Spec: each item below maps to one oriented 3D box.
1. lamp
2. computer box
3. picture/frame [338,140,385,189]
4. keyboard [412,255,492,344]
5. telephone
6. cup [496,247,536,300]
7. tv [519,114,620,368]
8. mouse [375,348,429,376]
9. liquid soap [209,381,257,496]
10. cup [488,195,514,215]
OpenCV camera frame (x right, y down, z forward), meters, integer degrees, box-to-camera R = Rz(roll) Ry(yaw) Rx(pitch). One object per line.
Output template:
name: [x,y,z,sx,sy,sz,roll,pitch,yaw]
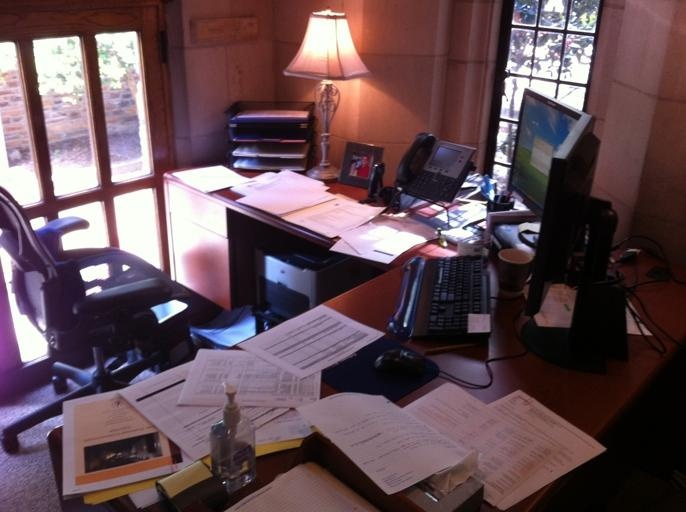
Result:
lamp: [-0.060,-0.874,2.955,0.365,0.842,0.414,17,30,29]
computer box: [-0.217,0.160,2.893,0.433,0.420,0.308,20,22,36]
picture/frame: [0.099,-0.482,2.880,0.262,0.299,0.021,16,21,14]
keyboard: [0.391,0.142,1.914,0.269,0.074,0.472,8,34,8]
telephone: [0.458,-0.379,2.532,0.304,0.325,0.085,24,-2,41]
cup: [0.615,0.047,2.047,0.156,0.175,0.160,6,24,-3]
tv: [0.786,-0.028,1.688,0.321,0.639,0.427,16,30,29]
mouse: [0.171,0.303,1.620,0.130,0.042,0.069,7,29,13]
liquid soap: [-0.260,0.421,1.270,0.107,0.241,0.118,-5,26,-11]
cup: [0.705,-0.243,2.497,0.116,0.081,0.086,-6,28,-5]
